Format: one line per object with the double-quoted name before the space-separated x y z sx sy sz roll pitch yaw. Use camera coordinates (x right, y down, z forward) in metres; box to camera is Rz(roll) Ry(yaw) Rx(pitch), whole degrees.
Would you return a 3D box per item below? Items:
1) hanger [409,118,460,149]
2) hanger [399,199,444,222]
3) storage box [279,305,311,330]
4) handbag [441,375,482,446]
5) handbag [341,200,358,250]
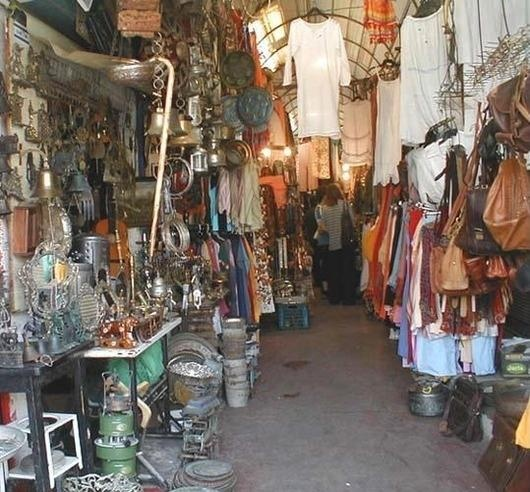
"hanger" 1.483 -0.903 4.566 0.229 0.097 0.180 -32 -2 2
"hanger" 1.414 -0.306 4.773 0.194 0.149 0.150 4 0 -7
"storage box" 0.409 1.064 8.216 0.494 0.386 0.229 -1 3 9
"handbag" 1.481 1.194 4.063 0.233 0.433 0.316 -4 4 -39
"handbag" 1.503 -0.370 10.005 0.156 0.909 0.468 1 4 35
